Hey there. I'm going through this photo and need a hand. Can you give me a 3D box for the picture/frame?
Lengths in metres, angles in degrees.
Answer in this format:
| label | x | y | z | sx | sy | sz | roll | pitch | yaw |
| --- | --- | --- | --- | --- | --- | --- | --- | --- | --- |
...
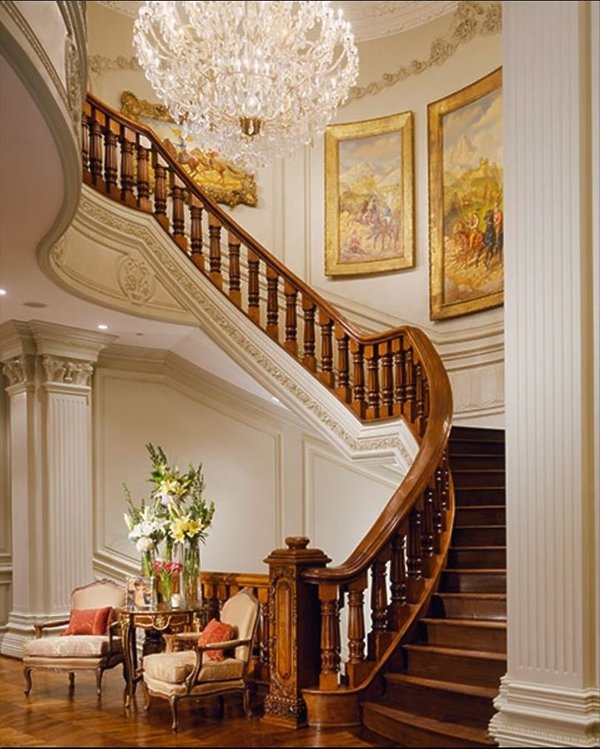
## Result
| label | x | y | z | sx | sy | sz | roll | pitch | yaw |
| --- | --- | --- | --- | --- | --- | --- | --- | --- | --- |
| picture/frame | 1.425 | -2.122 | 8.789 | 0.126 | 2.637 | 3.600 | 3 | -5 | -34 |
